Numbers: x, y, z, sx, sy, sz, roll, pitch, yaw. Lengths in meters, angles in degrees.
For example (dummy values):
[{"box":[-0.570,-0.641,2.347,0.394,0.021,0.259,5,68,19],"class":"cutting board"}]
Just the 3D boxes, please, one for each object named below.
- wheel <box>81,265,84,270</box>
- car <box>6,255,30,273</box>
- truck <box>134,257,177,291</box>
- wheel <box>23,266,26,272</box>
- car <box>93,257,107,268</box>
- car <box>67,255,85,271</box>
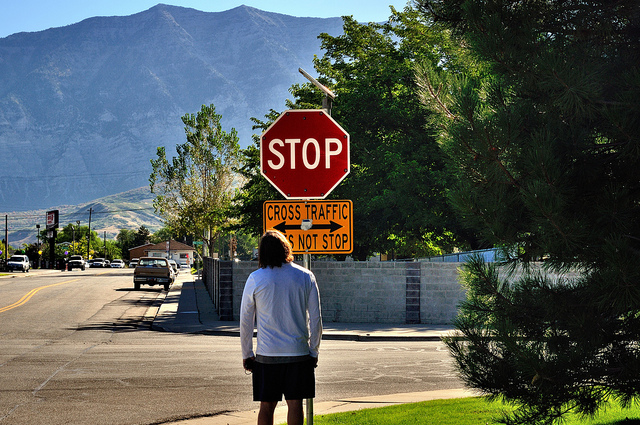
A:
[{"box":[-27.658,6.412,93.175,0.310,0.437,1.058,5,-3,-16],"class":"wheel"},{"box":[-28.048,4.813,74.614,1.375,1.190,2.246,1,-10,-10],"class":"car"},{"box":[-9.388,3.362,45.217,1.385,1.227,2.546,1,0,-5],"class":"truck"},{"box":[-27.393,5.407,74.261,0.171,0.743,0.114,4,16,-5],"class":"wheel"},{"box":[-33.076,7.588,119.736,1.239,1.244,2.227,-1,-11,-6],"class":"car"},{"box":[-28.465,5.761,93.832,1.246,1.257,2.666,0,-11,-7],"class":"car"}]
